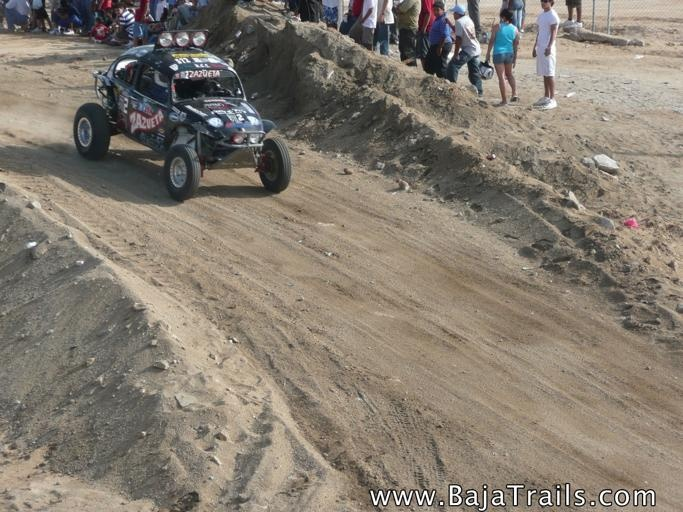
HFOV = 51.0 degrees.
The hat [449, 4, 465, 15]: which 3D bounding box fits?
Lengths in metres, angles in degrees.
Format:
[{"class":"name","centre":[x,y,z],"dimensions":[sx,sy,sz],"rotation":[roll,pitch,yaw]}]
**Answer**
[{"class":"hat","centre":[2.718,-5.642,16.574],"dimensions":[0.305,0.200,0.332],"rotation":[5,29,15]}]

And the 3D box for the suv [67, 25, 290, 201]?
[{"class":"suv","centre":[-3.067,-2.823,14.017],"dimensions":[4.550,2.615,2.818],"rotation":[29,29,36]}]

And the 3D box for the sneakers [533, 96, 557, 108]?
[{"class":"sneakers","centre":[4.767,-3.613,17.003],"dimensions":[0.647,0.248,0.225],"rotation":[-4,16,-13]}]
